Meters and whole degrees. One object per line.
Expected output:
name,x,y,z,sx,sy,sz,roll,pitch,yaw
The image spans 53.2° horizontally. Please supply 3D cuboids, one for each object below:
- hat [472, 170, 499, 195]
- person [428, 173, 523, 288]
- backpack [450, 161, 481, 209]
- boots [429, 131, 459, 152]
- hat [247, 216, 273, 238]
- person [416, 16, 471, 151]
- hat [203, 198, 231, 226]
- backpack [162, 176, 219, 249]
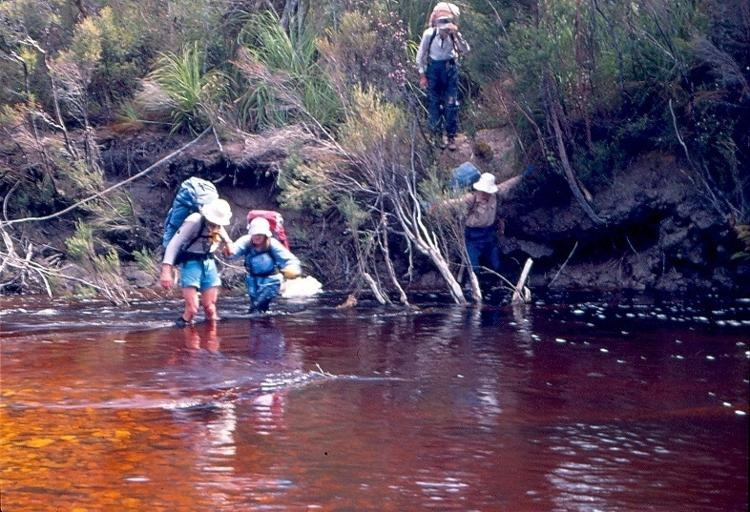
hat,1.974,-1.263,13.160,0.395,0.211,0.369,9,18,-39
person,1.804,-0.527,13.713,1.610,1.742,0.557,-22,29,-15
backpack,1.555,-1.398,13.369,0.392,0.510,0.734,9,13,37
boots,1.277,-2.175,14.227,0.303,0.335,0.809,0,8,1
hat,-1.774,-0.428,11.417,0.344,0.308,0.311,1,10,0
person,1.197,-3.228,13.656,0.856,2.555,1.136,2,11,6
hat,-2.231,-0.587,10.470,0.309,0.397,0.167,-31,-8,-42
backpack,-2.621,-0.638,10.586,0.717,0.932,0.390,-1,11,-12
